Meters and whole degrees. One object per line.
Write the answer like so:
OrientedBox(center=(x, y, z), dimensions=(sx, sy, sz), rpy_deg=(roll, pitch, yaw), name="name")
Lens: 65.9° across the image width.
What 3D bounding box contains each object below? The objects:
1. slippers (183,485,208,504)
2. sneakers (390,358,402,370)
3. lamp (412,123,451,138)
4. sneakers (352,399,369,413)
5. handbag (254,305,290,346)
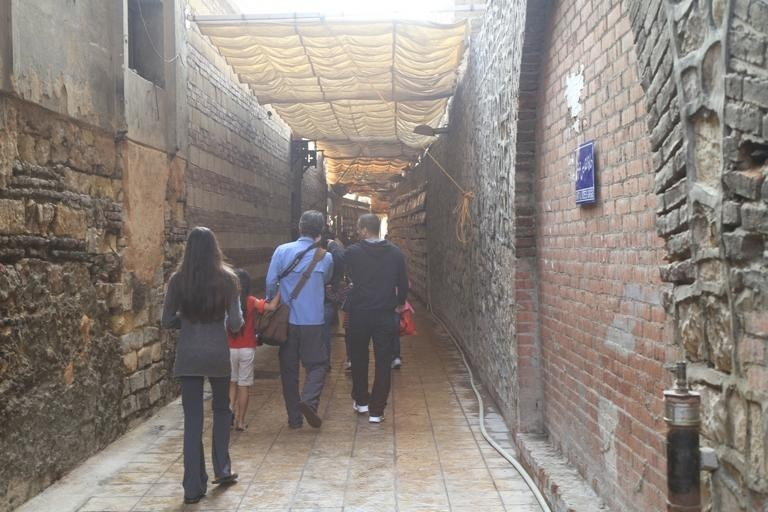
OrientedBox(center=(-1.432, 1.791, 4.506), dimensions=(0.068, 0.086, 0.180), rpy_deg=(3, 1, 3), name="slippers")
OrientedBox(center=(0.157, 1.485, 8.283), dimensions=(0.163, 0.158, 0.206), rpy_deg=(3, -24, -3), name="sneakers")
OrientedBox(center=(0.822, -2.145, 10.047), dimensions=(0.451, 0.241, 1.178), rpy_deg=(1, 4, 11), name="lamp")
OrientedBox(center=(-0.258, 1.621, 6.459), dimensions=(0.081, 0.096, 0.209), rpy_deg=(1, 3, -20), name="sneakers")
OrientedBox(center=(-1.132, 0.675, 5.921), dimensions=(0.183, 0.340, 0.333), rpy_deg=(31, -17, -35), name="handbag")
